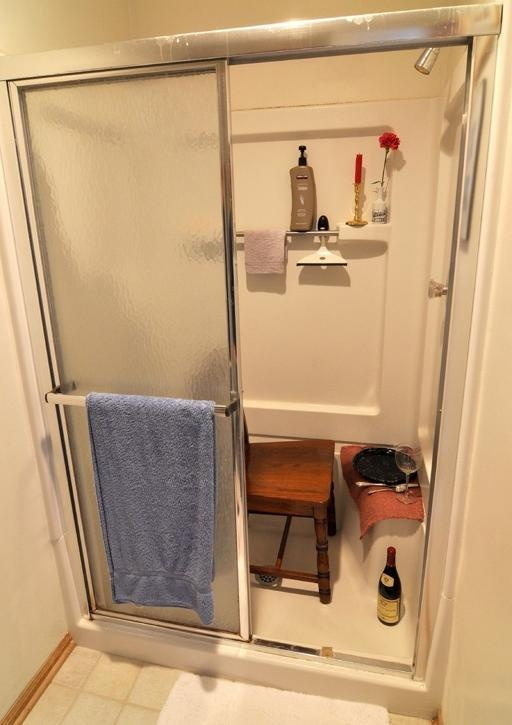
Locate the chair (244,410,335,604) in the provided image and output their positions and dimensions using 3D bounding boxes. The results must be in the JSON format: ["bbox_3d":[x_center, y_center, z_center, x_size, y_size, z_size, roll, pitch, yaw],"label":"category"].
[{"bbox_3d":[0.128,0.537,2.023,0.364,0.682,0.399,0,24,9],"label":"chair"}]

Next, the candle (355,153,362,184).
[{"bbox_3d":[0.362,-0.681,1.991,0.025,0.095,0.115,1,18,11],"label":"candle"}]

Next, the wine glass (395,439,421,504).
[{"bbox_3d":[0.511,0.343,1.905,0.072,0.177,0.214,2,18,16],"label":"wine glass"}]

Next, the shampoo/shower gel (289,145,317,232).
[{"bbox_3d":[0.167,-0.630,2.061,0.086,0.300,0.041,-1,17,7],"label":"shampoo/shower gel"}]

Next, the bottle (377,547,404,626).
[{"bbox_3d":[0.425,0.678,1.787,0.077,0.288,0.117,1,18,13],"label":"bottle"}]

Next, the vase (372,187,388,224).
[{"bbox_3d":[0.441,-0.563,2.020,0.058,0.128,0.089,0,18,11],"label":"vase"}]

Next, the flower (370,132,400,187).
[{"bbox_3d":[0.454,-0.705,1.955,0.091,0.182,0.130,0,18,8],"label":"flower"}]

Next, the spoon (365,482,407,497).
[{"bbox_3d":[0.440,0.437,1.940,0.152,0.018,0.047,-8,30,21],"label":"spoon"}]

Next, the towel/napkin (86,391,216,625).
[{"bbox_3d":[-0.249,0.371,1.443,0.301,0.622,0.066,2,22,3],"label":"towel/napkin"}]
